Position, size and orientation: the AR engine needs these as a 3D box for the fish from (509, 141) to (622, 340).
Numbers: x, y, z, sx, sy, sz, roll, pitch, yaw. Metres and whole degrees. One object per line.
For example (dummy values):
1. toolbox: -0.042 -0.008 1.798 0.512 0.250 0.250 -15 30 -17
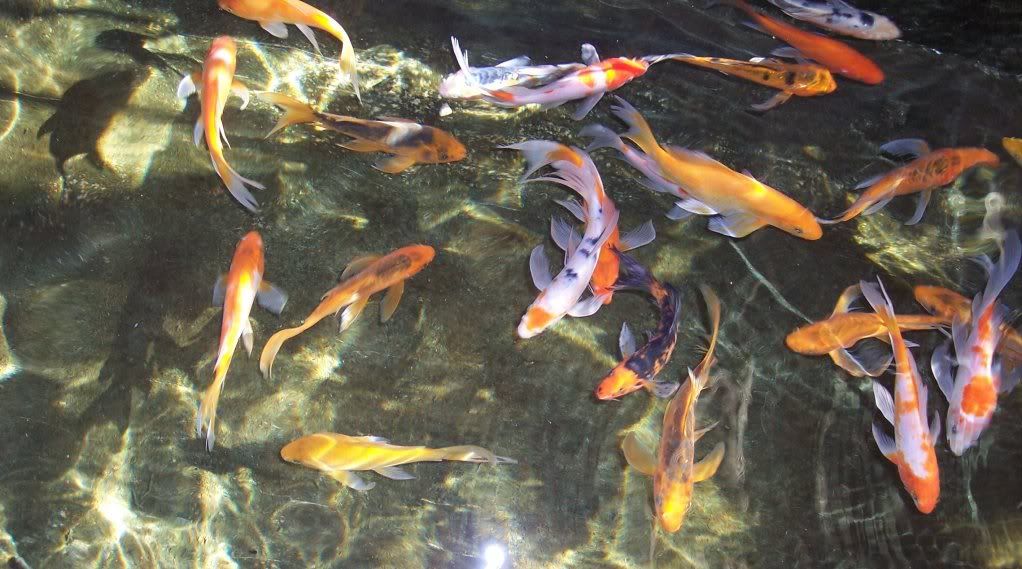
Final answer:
1. fish: 0.573 -0.294 11.735 1.240 1.744 0.719 31 -7 2

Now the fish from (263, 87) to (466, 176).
1. fish: -1.593 -1.564 11.602 1.411 0.432 0.527 11 -27 -11
